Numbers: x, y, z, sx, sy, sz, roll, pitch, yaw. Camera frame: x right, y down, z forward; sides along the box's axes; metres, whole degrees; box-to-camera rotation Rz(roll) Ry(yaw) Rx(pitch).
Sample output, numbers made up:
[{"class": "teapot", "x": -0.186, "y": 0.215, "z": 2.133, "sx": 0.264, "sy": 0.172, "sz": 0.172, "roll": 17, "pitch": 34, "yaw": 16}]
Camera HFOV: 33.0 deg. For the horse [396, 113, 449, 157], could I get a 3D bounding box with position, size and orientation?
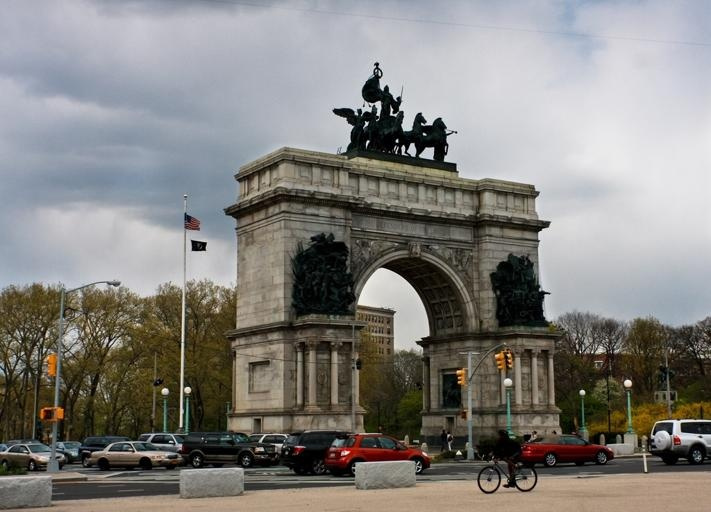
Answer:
[{"class": "horse", "x": 5.895, "y": -9.784, "z": 96.293, "sx": 3.969, "sy": 4.198, "sz": 4.064, "roll": 2, "pitch": -15, "yaw": -13}]
